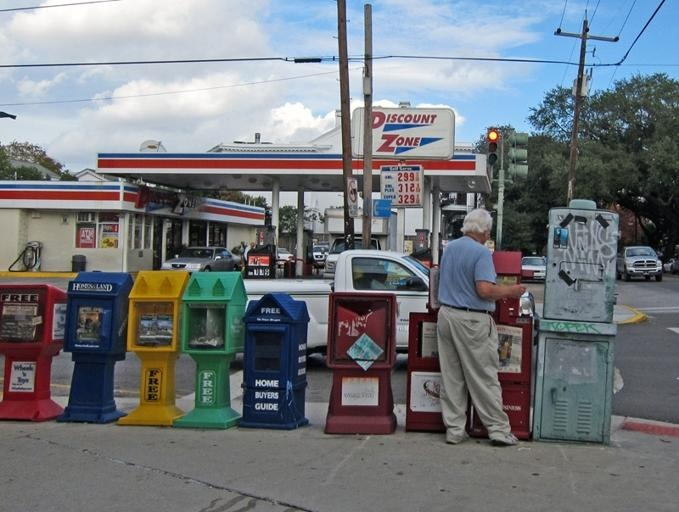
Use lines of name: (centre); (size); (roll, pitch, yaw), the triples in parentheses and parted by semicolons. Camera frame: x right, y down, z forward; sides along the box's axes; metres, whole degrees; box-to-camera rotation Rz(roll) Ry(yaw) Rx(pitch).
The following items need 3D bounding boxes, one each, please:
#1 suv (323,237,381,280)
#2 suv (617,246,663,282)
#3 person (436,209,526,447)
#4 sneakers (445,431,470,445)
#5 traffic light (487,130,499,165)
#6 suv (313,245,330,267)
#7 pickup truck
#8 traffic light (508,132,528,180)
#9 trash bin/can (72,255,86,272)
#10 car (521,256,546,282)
suv: (0.218, -0.061, 28.877); (1.147, 1.057, 2.118); (0, -4, 9)
suv: (14.324, 0.367, 40.681); (1.791, 1.577, 4.029); (0, -4, 3)
person: (1.531, 0.790, 9.353); (0.882, 2.595, 0.518); (1, 4, 6)
sneakers: (1.317, 2.022, 9.321); (0.298, 0.144, 0.125); (-1, 5, -24)
traffic light: (3.544, -2.550, 19.325); (0.277, 0.840, 0.952); (1, 4, 10)
suv: (-1.323, -0.136, 53.729); (1.298, 1.238, 2.195); (0, -4, 2)
pickup truck: (0.069, 0.783, 13.999); (3.408, 1.467, 1.601); (-1, 0, 5)
traffic light: (4.980, -2.838, 23.370); (0.508, 1.290, 1.877); (1, 4, 11)
trash bin/can: (-11.142, 0.322, 35.734); (0.688, 0.710, 0.690); (1, -4, -14)
car: (7.357, 0.480, 31.623); (1.005, 1.000, 2.403); (-1, -6, 7)
